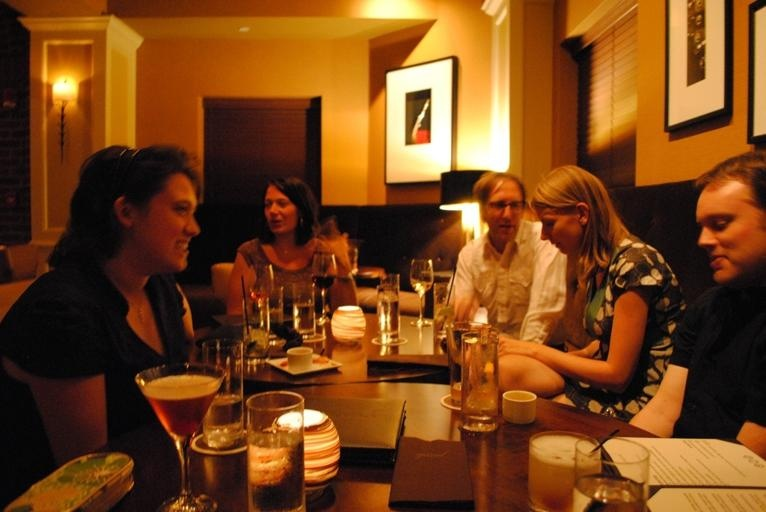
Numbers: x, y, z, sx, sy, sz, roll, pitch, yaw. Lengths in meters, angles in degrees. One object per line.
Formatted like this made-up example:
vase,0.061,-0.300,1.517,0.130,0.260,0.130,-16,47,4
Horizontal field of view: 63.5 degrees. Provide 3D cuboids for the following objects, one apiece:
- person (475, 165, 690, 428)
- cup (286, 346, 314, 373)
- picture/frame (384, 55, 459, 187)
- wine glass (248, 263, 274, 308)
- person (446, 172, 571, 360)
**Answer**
person,0.958,0.344,2.976,0.937,1.483,0.762,1,0,-5
cup,-0.328,0.411,2.448,0.093,0.069,0.083,1,-2,-7
picture/frame,0.430,-1.660,6.264,0.692,0.083,0.946,-5,-21,10
wine glass,-0.536,0.129,2.772,0.106,0.168,0.109,-5,-6,27
person,0.731,0.051,3.766,0.761,1.055,0.861,-1,5,7
